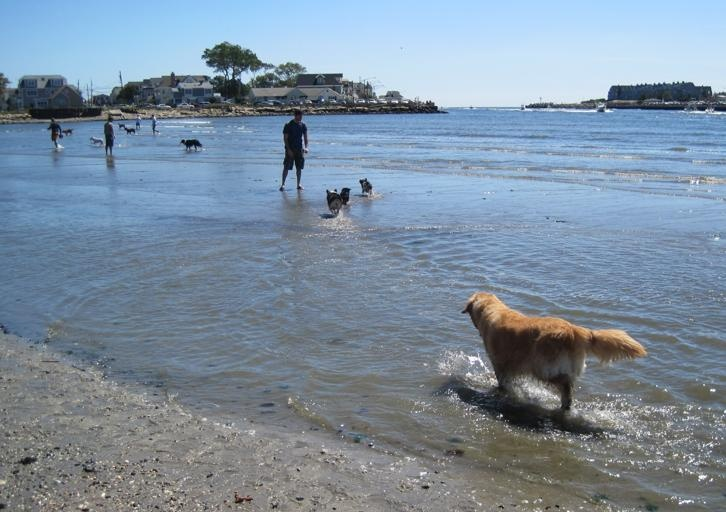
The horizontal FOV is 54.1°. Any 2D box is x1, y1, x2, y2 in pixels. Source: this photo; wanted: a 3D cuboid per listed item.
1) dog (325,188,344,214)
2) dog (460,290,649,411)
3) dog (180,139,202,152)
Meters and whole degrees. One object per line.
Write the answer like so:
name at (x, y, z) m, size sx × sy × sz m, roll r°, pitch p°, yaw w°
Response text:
dog at (-0.645, -1.188, 15.899) m, size 0.284 × 0.441 × 0.519 m, roll -1°, pitch 14°, yaw -6°
dog at (2.033, 1.119, 7.995) m, size 0.660 × 1.144 × 2.589 m, roll 2°, pitch 1°, yaw -31°
dog at (-8.216, -5.331, 34.087) m, size 0.822 × 0.528 × 2.086 m, roll -2°, pitch 14°, yaw -10°
